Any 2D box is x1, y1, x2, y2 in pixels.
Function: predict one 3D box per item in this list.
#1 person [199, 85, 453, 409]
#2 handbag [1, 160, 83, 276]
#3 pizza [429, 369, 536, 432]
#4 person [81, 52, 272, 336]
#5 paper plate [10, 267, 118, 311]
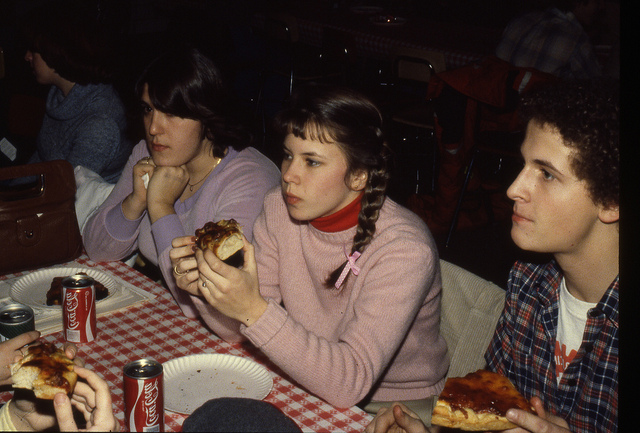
[{"bbox_3d":[0.016,0.146,2.156,0.911,1.370,0.977,-11,13,-40],"label":"person"},{"bbox_3d":[-1.375,0.028,2.439,0.490,0.493,0.265,-10,21,-33],"label":"handbag"},{"bbox_3d":[0.547,0.635,1.658,0.223,0.065,0.238,9,21,34],"label":"pizza"},{"bbox_3d":[-0.776,-0.170,2.657,0.914,1.294,0.875,11,9,20],"label":"person"},{"bbox_3d":[-1.142,0.323,2.168,0.425,0.060,0.414,1,16,-15],"label":"paper plate"}]
